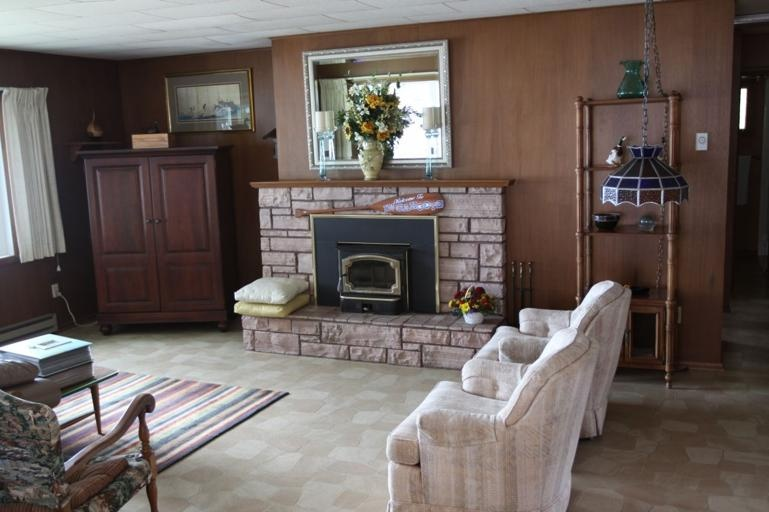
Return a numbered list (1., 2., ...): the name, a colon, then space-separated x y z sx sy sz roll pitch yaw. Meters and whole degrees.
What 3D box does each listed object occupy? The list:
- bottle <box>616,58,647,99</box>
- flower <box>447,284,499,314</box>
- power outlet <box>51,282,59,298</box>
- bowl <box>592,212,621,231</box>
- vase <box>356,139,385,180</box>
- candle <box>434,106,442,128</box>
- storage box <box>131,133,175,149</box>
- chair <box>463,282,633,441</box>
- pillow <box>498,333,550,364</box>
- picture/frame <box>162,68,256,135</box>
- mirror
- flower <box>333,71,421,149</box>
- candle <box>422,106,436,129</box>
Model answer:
1. bottle: 2.221 -1.552 5.148 0.251 0.337 0.354 -27 30 -35
2. flower: 0.863 0.383 5.593 0.335 0.144 0.337 0 0 43
3. power outlet: -3.838 0.406 6.836 0.032 0.174 0.103 2 11 27
4. bowl: 2.023 -0.305 5.369 0.201 0.108 0.196 -1 2 0
5. vase: -0.125 -1.007 6.011 0.267 0.407 0.262 4 12 35
6. candle: 0.526 -1.363 5.791 0.079 0.199 0.027 -4 10 -2
7. storage box: -2.636 -1.295 6.644 0.438 0.160 0.124 -2 10 8
8. chair: 1.318 0.708 4.638 1.263 1.055 0.953 1 6 27
9. pillow: 0.985 0.679 4.235 0.247 0.094 0.228 0 4 20
10. picture/frame: -2.057 -1.863 6.996 1.018 0.591 0.035 0 8 15
11. mirror: -0.014 -1.572 5.912 1.545 1.122 0.071 1 6 13
12. flower: -0.135 -1.536 5.983 0.576 0.549 0.530 -10 -15 20
13. candle: 0.441 -1.352 5.763 0.141 0.206 0.067 -4 10 -6
